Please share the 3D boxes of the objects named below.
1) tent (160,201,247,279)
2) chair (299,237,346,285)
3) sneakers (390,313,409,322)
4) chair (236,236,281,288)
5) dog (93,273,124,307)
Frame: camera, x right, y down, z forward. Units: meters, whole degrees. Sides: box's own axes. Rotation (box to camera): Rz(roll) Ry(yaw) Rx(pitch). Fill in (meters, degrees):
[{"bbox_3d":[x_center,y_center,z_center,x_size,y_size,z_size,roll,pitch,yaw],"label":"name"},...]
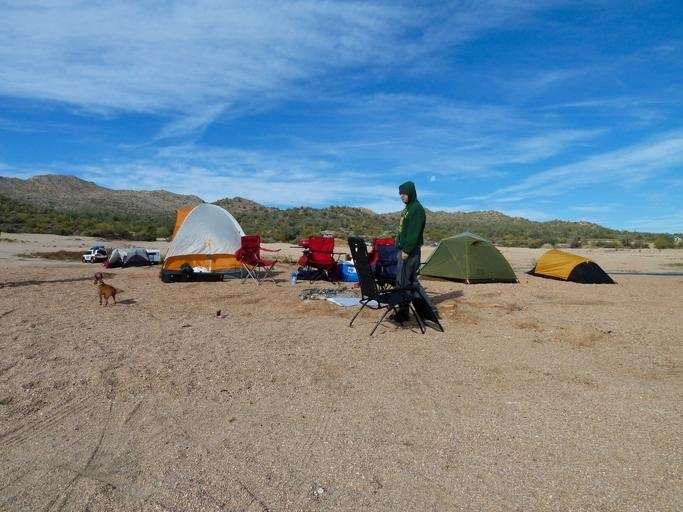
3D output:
[{"bbox_3d":[-3.643,-0.415,12.051,1.952,1.937,2.034,-1,12,-8],"label":"tent"},{"bbox_3d":[-0.482,0.061,11.239,0.956,0.918,0.802,6,13,-9],"label":"chair"},{"bbox_3d":[0.943,0.978,7.233,0.304,0.228,0.134,2,-2,13],"label":"sneakers"},{"bbox_3d":[-2.242,0.070,11.750,1.253,0.965,0.952,1,-6,34],"label":"chair"},{"bbox_3d":[-4.197,0.617,8.231,0.833,0.480,0.277,12,15,29],"label":"dog"}]
